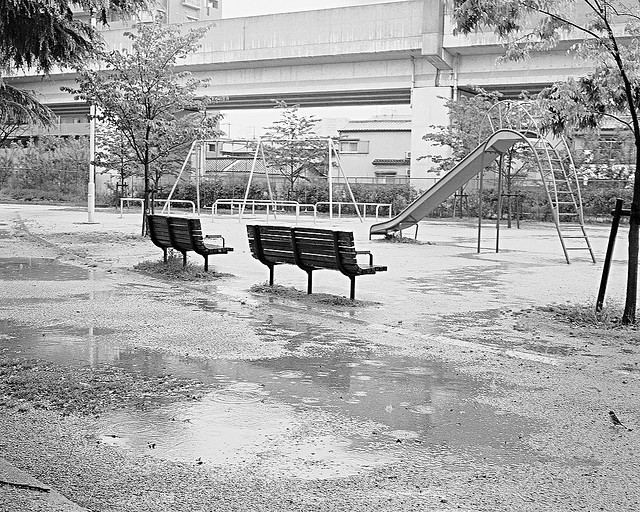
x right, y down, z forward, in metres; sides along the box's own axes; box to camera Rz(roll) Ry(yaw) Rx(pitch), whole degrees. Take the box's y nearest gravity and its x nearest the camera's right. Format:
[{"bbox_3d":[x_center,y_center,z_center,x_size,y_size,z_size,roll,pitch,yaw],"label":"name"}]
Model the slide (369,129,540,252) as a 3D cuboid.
[{"bbox_3d":[4.629,-2.013,27.383,5.544,3.151,3.481,6,10,34],"label":"slide"}]
